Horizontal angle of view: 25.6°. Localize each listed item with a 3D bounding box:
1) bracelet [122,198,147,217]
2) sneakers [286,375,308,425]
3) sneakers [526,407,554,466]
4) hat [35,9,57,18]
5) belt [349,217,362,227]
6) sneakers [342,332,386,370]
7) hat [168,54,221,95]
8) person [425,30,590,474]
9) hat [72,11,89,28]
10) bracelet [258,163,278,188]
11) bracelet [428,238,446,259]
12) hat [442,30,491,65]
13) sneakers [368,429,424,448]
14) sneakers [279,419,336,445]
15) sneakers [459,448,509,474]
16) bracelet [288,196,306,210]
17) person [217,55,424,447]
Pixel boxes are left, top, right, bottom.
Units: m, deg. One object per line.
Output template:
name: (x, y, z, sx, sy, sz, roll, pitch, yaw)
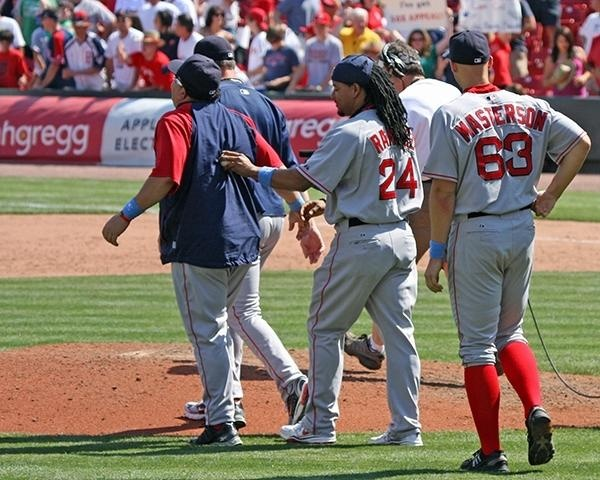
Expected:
bracelet: (-1.238, -0.244, 9.951, 0.113, 0.125, 0.163, -31, -13, 31)
sneakers: (-0.029, 1.267, 10.317, 0.188, 0.390, 0.139, 19, 25, 27)
sneakers: (1.679, 1.404, 9.300, 0.181, 0.385, 0.192, -5, 11, -4)
hat: (-4.184, -3.781, 21.969, 0.251, 0.178, 0.285, -1, 12, -10)
belt: (0.402, -0.133, 9.845, 0.070, 0.050, 0.070, -2, 4, -6)
sneakers: (0.556, 0.957, 11.799, 0.193, 0.227, 0.486, -11, 30, -44)
hat: (-0.783, -1.246, 10.052, 0.261, 0.378, 0.220, -33, -13, -41)
person: (1.397, 0.048, 9.624, 1.015, 3.068, 1.188, 2, 12, 5)
hat: (-3.563, -3.593, 21.375, 0.252, 0.244, 0.271, -1, 12, -10)
bracelet: (-0.253, -0.491, 9.998, 0.108, 0.141, 0.116, 9, -27, 2)
bracelet: (1.005, 0.073, 9.750, 0.128, 0.116, 0.135, 2, -1, 8)
hat: (1.259, -1.465, 10.006, 0.375, 0.261, 0.515, -6, 7, -3)
sneakers: (0.732, 1.517, 10.033, 0.394, 0.154, 0.140, 2, -1, 6)
sneakers: (0.041, 1.502, 10.159, 0.441, 0.204, 0.168, 6, 3, 16)
sneakers: (1.343, 1.583, 9.421, 0.396, 0.170, 0.137, 1, -11, 16)
bracelet: (-0.032, -0.290, 10.490, 0.116, 0.085, 0.112, 15, -35, -26)
person: (0.358, 0.095, 9.948, 1.137, 2.924, 0.655, 0, 12, -2)
